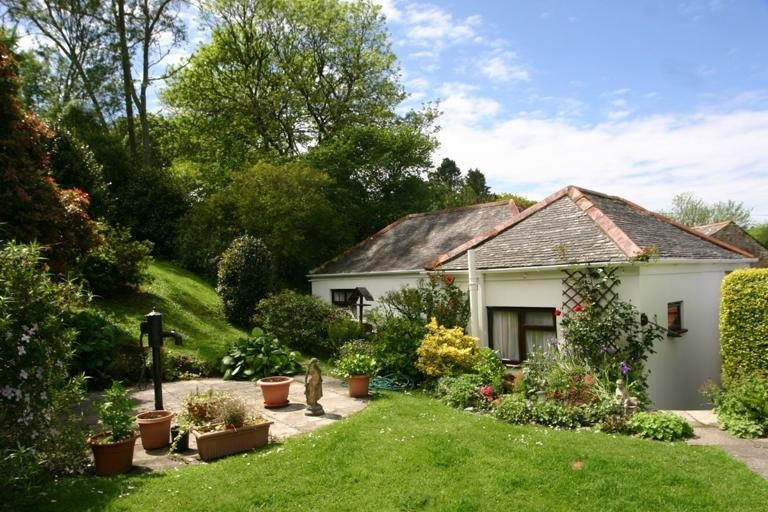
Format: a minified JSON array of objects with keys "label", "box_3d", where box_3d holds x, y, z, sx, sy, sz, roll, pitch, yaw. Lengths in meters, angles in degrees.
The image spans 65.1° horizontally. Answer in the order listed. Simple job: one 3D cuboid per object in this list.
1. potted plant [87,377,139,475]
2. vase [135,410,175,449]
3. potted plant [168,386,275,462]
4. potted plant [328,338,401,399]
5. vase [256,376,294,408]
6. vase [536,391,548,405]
[{"label":"potted plant","box_3d":[-6.402,4.114,14.282,0.979,2.175,0.422,3,-7,-16]},{"label":"vase","box_3d":[-5.791,4.426,15.258,0.965,0.745,0.965,-3,1,-7]},{"label":"potted plant","box_3d":[-4.085,4.253,15.036,1.683,1.330,1.872,-4,-8,40]},{"label":"potted plant","box_3d":[-0.676,3.646,19.074,1.478,1.210,1.658,3,-5,-20]},{"label":"vase","box_3d":[-3.202,3.914,17.336,0.878,0.602,0.836,1,-6,-43]},{"label":"vase","box_3d":[4.487,4.058,17.181,0.263,0.193,0.265,-1,-1,11]}]
